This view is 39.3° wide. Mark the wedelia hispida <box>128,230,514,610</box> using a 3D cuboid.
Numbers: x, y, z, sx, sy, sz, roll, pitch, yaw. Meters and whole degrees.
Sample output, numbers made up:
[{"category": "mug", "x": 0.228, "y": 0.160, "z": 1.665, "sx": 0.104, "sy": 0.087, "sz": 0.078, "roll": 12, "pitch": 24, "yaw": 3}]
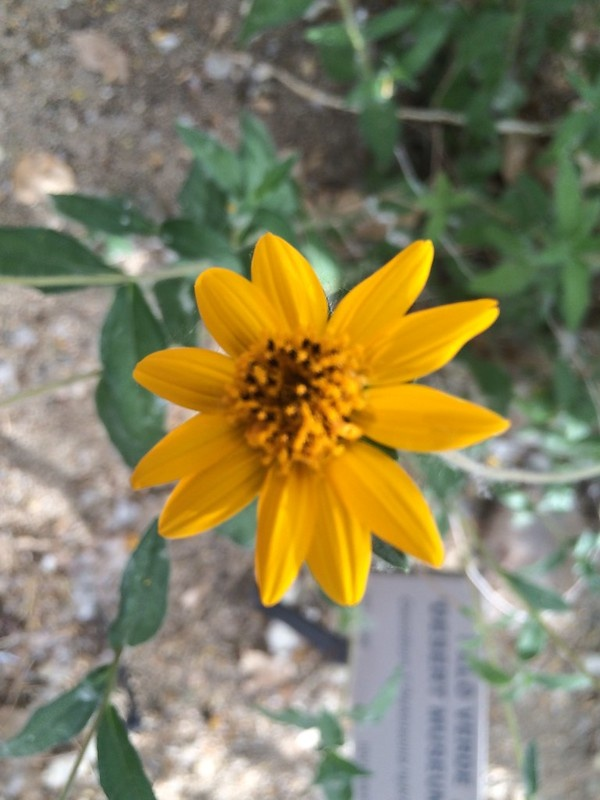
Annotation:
[{"category": "wedelia hispida", "x": 0.049, "y": 0.022, "z": 0.989, "sx": 0.462, "sy": 0.145, "sz": 0.380, "roll": 34, "pitch": 97, "yaw": 10}]
